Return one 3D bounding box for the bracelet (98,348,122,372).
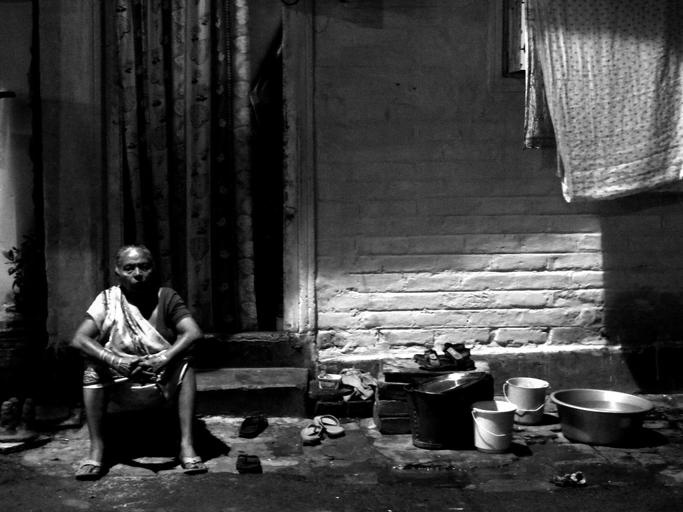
[{"bbox_3d":[-1.578,0.713,5.102,0.187,0.062,0.095,33,48,6],"label":"bracelet"}]

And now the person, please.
[{"bbox_3d":[-1.406,0.838,5.190,0.885,1.191,0.724,-3,14,-11],"label":"person"}]

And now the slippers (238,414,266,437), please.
[{"bbox_3d":[-0.687,1.335,5.836,0.198,0.071,0.356,0,11,3],"label":"slippers"}]

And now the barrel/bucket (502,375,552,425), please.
[{"bbox_3d":[1.496,1.139,5.975,0.409,0.245,0.402,1,2,0],"label":"barrel/bucket"}]

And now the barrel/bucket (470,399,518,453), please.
[{"bbox_3d":[1.090,1.243,5.475,0.433,0.260,0.365,0,6,-1],"label":"barrel/bucket"}]

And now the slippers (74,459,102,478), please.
[{"bbox_3d":[-1.695,1.435,4.992,0.162,0.114,0.136,-1,13,-1],"label":"slippers"}]

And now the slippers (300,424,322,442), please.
[{"bbox_3d":[-0.222,1.361,5.682,0.107,0.046,0.150,2,10,2],"label":"slippers"}]

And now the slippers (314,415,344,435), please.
[{"bbox_3d":[-0.092,1.334,5.871,0.247,0.106,0.349,-1,11,-5],"label":"slippers"}]

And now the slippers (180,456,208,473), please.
[{"bbox_3d":[-1.006,1.428,5.090,0.177,0.095,0.123,-2,13,-9],"label":"slippers"}]
